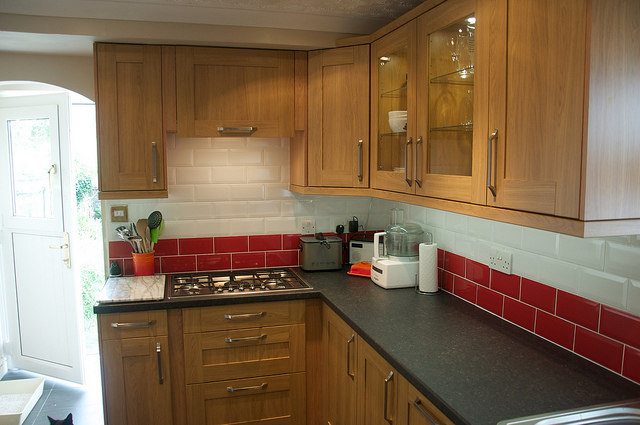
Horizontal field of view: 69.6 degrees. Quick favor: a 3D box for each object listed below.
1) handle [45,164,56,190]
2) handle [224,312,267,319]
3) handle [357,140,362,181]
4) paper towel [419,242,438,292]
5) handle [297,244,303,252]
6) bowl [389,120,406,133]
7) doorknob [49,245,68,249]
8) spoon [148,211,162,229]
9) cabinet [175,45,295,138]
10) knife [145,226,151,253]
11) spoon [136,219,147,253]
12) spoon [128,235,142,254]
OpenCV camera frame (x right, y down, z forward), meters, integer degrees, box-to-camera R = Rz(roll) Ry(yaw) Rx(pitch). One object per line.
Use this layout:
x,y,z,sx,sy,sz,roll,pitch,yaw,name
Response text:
-2.369,-0.324,4.061,0.153,0.207,0.036,1,9,39,handle
-0.523,0.700,3.139,0.223,0.029,0.023,2,6,-7,handle
0.282,-0.371,3.259,0.047,0.284,0.035,-4,7,6,handle
0.734,0.378,3.117,0.128,0.338,0.058,-4,7,4,paper towel
-0.161,0.276,3.699,0.052,0.054,0.032,2,0,-16,handle
0.488,-0.554,2.944,0.083,0.046,0.082,0,7,0,bowl
-2.310,0.300,4.078,0.189,0.034,0.033,1,-2,16,doorknob
-1.245,0.057,3.463,0.096,0.124,0.062,-6,7,-15,spoon
-0.747,-0.917,3.507,0.985,0.661,0.553,-12,25,-38,cabinet
-1.285,0.196,3.446,0.021,0.179,0.035,-11,-9,28,knife
-1.325,0.174,3.423,0.058,0.195,0.023,-10,-6,18,spoon
-1.362,0.239,3.418,0.091,0.139,0.053,-3,7,10,spoon
